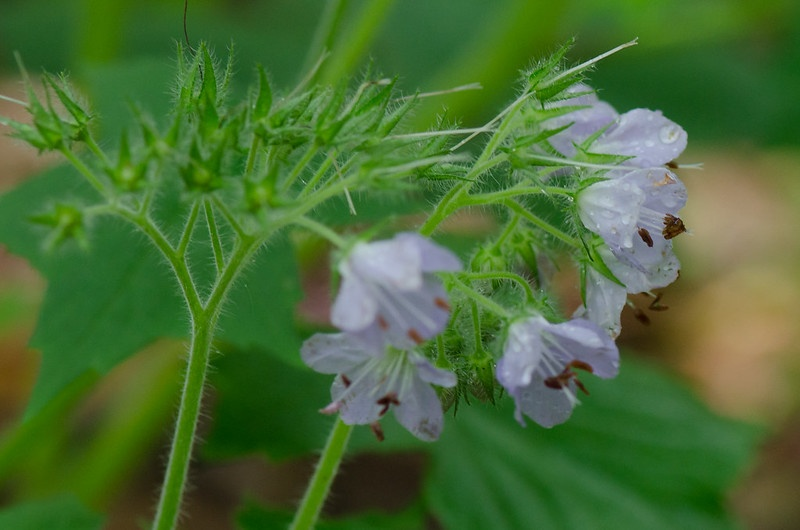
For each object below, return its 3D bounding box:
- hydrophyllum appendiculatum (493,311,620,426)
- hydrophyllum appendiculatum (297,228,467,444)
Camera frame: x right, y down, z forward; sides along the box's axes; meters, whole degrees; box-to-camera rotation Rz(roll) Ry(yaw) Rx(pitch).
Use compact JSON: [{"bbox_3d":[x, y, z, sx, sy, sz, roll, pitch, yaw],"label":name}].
[{"bbox_3d":[0.401,0.262,1.919,0.329,0.311,0.163,-31,70,0],"label":"hydrophyllum appendiculatum"},{"bbox_3d":[-0.051,0.199,1.845,0.467,0.533,0.281,12,41,-9],"label":"hydrophyllum appendiculatum"}]
